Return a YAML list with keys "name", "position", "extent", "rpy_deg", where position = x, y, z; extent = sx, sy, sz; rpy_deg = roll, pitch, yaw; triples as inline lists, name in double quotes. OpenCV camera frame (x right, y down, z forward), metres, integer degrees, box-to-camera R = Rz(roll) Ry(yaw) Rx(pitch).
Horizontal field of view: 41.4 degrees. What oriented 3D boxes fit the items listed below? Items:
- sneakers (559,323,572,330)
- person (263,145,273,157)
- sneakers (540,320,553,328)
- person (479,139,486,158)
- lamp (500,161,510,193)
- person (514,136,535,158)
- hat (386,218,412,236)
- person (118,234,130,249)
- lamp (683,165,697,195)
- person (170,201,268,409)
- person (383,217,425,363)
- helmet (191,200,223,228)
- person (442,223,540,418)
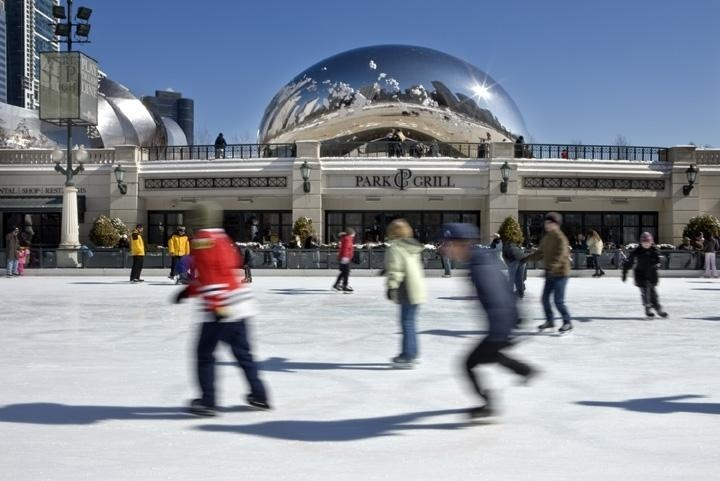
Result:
- name: "sneakers"
  position: [4.248, 1.834, 19.853]
  extent: [0.251, 0.178, 0.232]
  rpy_deg: [0, 0, 9]
- name: "person"
  position: [-4.176, -4.046, 43.340]
  extent: [0.376, 0.421, 0.896]
  rpy_deg: [-1, 0, -10]
- name: "sneakers"
  position: [3.932, 1.829, 20.323]
  extent: [0.306, 0.188, 0.458]
  rpy_deg: [0, 0, 13]
- name: "person"
  position: [5.460, -4.070, 42.988]
  extent: [0.381, 0.781, 1.210]
  rpy_deg: [-1, 0, 8]
- name: "lamp"
  position: [6.235, -2.698, 41.311]
  extent: [0.500, 1.328, 0.966]
  rpy_deg: [-1, 0, 6]
- name: "person"
  position: [7.266, -4.013, 42.731]
  extent: [1.204, 0.457, 0.409]
  rpy_deg: [-1, 0, -43]
- name: "hat"
  position: [0.722, -0.183, 17.290]
  extent: [0.325, 0.364, 0.353]
  rpy_deg: [2, -10, -14]
- name: "person"
  position: [-9.843, 0.074, 39.809]
  extent: [0.372, 0.545, 0.725]
  rpy_deg: [10, -25, -40]
- name: "lamp"
  position: [14.540, -2.682, 42.294]
  extent: [0.624, 1.378, 1.295]
  rpy_deg: [0, 0, 13]
- name: "person"
  position: [-2.248, 1.115, 15.423]
  extent: [1.253, 2.551, 0.462]
  rpy_deg: [-1, 0, -11]
- name: "person"
  position: [0.799, 0.975, 17.362]
  extent: [0.742, 2.705, 1.067]
  rpy_deg: [-1, 0, 2]
- name: "helmet"
  position: [-2.491, -0.422, 15.529]
  extent: [0.499, 0.422, 0.444]
  rpy_deg: [0, 2, -10]
- name: "person"
  position: [2.010, 1.299, 15.322]
  extent: [1.403, 3.104, 0.476]
  rpy_deg: [-1, 0, 3]
